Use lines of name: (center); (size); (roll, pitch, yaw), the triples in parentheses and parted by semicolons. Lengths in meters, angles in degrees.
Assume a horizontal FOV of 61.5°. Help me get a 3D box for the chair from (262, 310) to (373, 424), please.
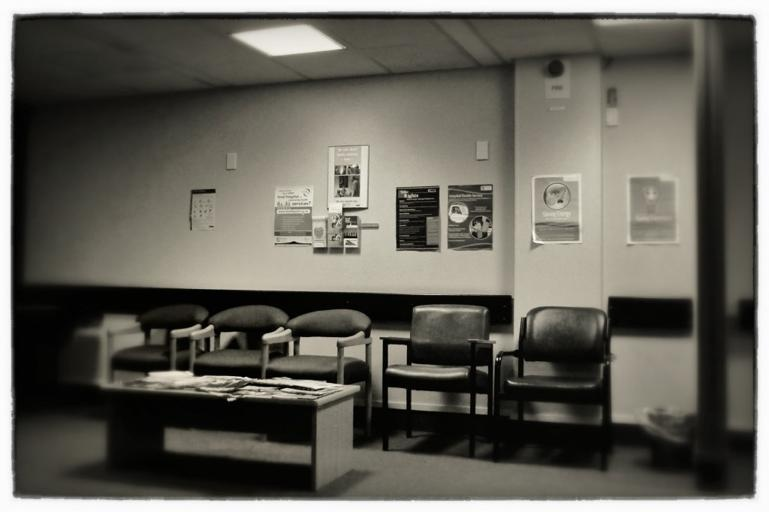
chair: (-0.411, 0.735, 4.195); (0.653, 0.702, 0.619); (-1, -1, 32)

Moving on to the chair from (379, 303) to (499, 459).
chair: (0.346, 0.739, 4.018); (0.642, 0.846, 0.540); (-2, -8, 29)

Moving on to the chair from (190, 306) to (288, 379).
chair: (-0.929, 0.698, 4.212); (0.566, 0.700, 0.467); (-1, 1, 14)

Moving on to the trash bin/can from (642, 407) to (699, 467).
trash bin/can: (1.773, 1.130, 4.010); (0.368, 0.322, 0.303); (-14, -18, 42)

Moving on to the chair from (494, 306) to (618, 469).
chair: (1.073, 0.757, 3.976); (0.676, 0.879, 0.551); (-1, -1, 23)
